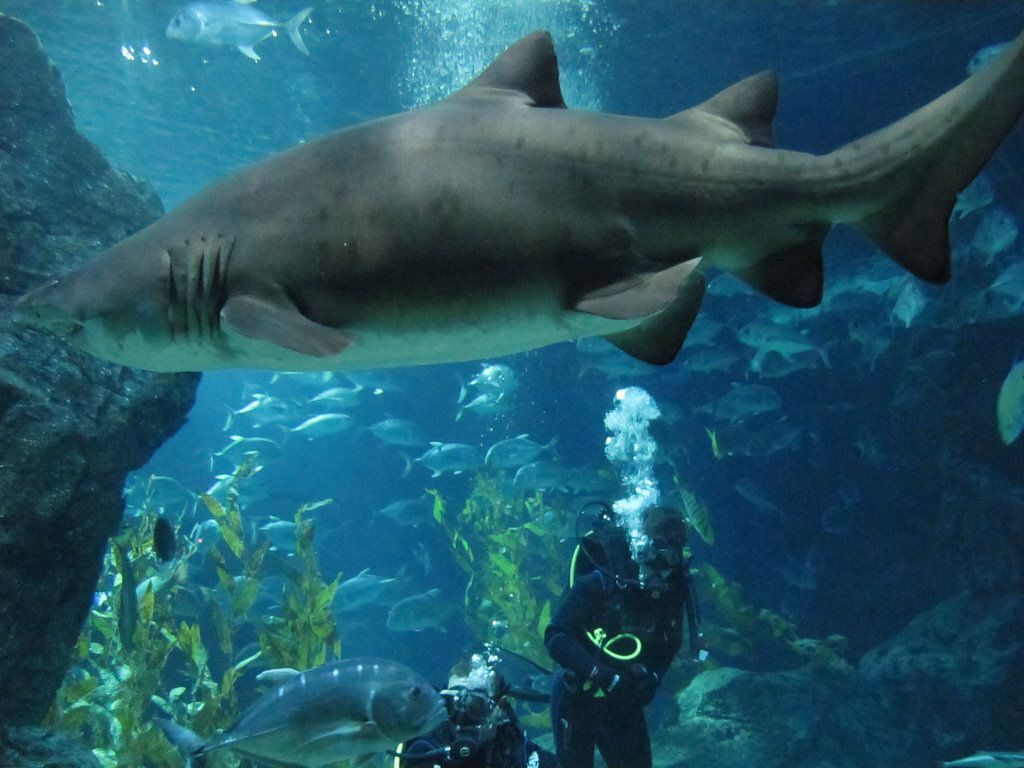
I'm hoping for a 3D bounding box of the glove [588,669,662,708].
[{"bbox_3d":[1.627,4.201,14.790,0.832,0.299,0.636,1,1,-8],"label":"glove"}]
